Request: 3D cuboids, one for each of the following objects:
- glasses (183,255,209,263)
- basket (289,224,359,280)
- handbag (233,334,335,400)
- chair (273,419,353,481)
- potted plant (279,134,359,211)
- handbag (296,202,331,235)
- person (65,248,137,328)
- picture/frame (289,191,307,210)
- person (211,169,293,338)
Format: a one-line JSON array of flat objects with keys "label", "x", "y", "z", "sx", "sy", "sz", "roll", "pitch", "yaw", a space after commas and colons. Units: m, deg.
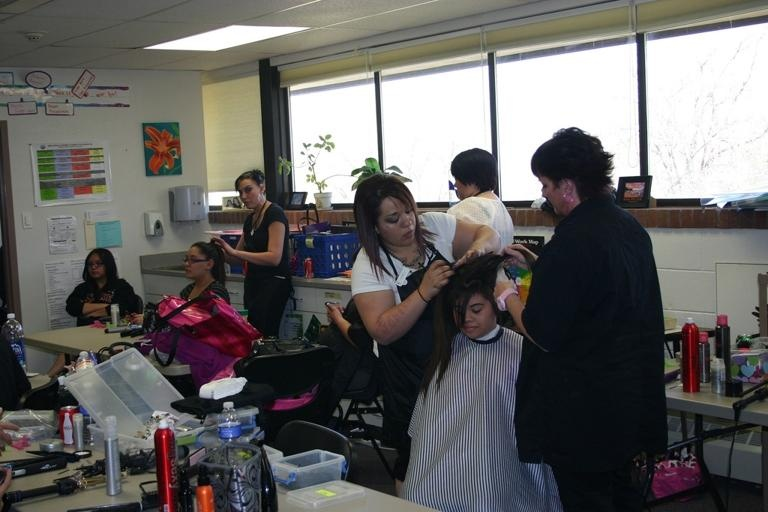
[{"label": "glasses", "x": -1.364, "y": 0.017, "z": 4.184, "sx": 0.203, "sy": 0.060, "sz": 0.079, "roll": -2, "pitch": 6, "yaw": 26}, {"label": "basket", "x": -0.544, "y": -0.037, "z": 5.266, "sx": 0.526, "sy": 0.340, "sz": 0.537, "roll": -1, "pitch": 2, "yaw": 41}, {"label": "handbag", "x": -0.565, "y": 0.634, "z": 3.368, "sx": 0.323, "sy": 0.172, "sz": 0.413, "roll": 4, "pitch": 3, "yaw": 44}, {"label": "chair", "x": -0.304, "y": 0.794, "z": 2.526, "sx": 0.229, "sy": 0.129, "sz": 0.304, "roll": 0, "pitch": 2, "yaw": -43}, {"label": "potted plant", "x": -0.723, "y": -0.902, "z": 6.623, "sx": 0.984, "sy": 0.969, "sz": 0.675, "roll": 3, "pitch": -10, "yaw": -25}, {"label": "handbag", "x": -0.703, "y": -0.380, "z": 5.918, "sx": 0.153, "sy": 0.357, "sz": 0.379, "roll": -11, "pitch": 10, "yaw": -43}, {"label": "person", "x": -2.799, "y": 0.315, "z": 5.702, "sx": 0.552, "sy": 0.711, "sz": 0.419, "roll": -16, "pitch": -27, "yaw": 8}, {"label": "picture/frame", "x": -0.946, "y": -0.609, "z": 6.434, "sx": 0.216, "sy": 0.201, "sz": 0.084, "roll": 6, "pitch": -5, "yaw": 36}, {"label": "person", "x": -1.083, "y": -0.009, "z": 5.042, "sx": 0.555, "sy": 1.466, "sz": 0.558, "roll": -5, "pitch": 5, "yaw": -10}]
